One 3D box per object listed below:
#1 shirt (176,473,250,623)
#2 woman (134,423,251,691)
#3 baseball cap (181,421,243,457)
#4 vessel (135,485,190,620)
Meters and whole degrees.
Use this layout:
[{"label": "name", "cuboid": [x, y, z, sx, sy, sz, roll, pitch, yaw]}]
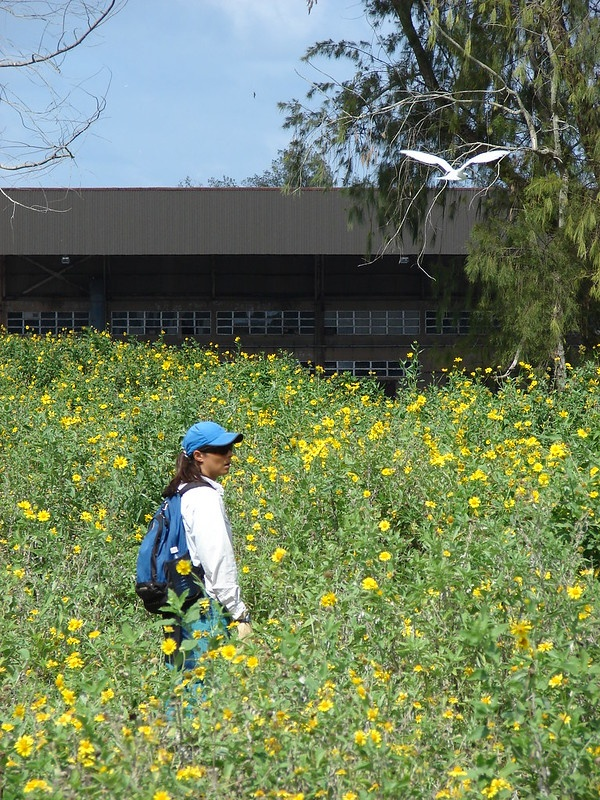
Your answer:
[{"label": "shirt", "cuboid": [-0.312, 0.539, 3.446, 0.165, 0.561, 0.251, -13, -39, -12]}, {"label": "woman", "cuboid": [-0.389, 0.567, 3.461, 0.332, 1.126, 0.333, 8, -27, -21]}, {"label": "baseball cap", "cuboid": [-0.339, 0.141, 3.648, 0.176, 0.098, 0.123, -10, 10, 4]}, {"label": "vessel", "cuboid": [-0.470, 0.550, 3.475, 0.226, 0.446, 0.286, 7, -21, -28]}]
